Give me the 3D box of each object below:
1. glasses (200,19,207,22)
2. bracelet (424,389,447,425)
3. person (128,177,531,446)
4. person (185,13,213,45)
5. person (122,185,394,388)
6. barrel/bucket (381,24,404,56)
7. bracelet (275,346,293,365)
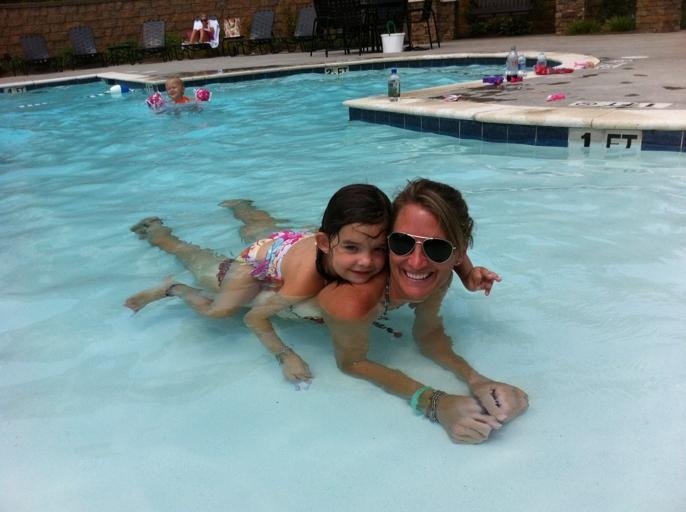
[{"bbox_3d":[-4.079,-6.974,15.390,0.153,0.117,0.088,-4,21,-2],"label":"glasses"},{"bbox_3d":[0.350,0.576,1.982,0.067,0.109,0.079,5,23,23],"label":"bracelet"},{"bbox_3d":[-0.042,0.052,2.583,1.081,0.814,2.285,-30,31,-34],"label":"person"},{"bbox_3d":[-4.222,-6.698,15.423,0.529,0.764,0.573,1,21,14],"label":"person"},{"bbox_3d":[-0.459,-0.064,2.498,1.381,0.562,0.853,25,33,35],"label":"person"},{"bbox_3d":[1.237,-5.401,12.869,0.690,0.604,0.543,0,22,6],"label":"barrel/bucket"},{"bbox_3d":[-0.248,0.425,2.283,0.099,0.081,0.064,5,31,2],"label":"bracelet"}]
